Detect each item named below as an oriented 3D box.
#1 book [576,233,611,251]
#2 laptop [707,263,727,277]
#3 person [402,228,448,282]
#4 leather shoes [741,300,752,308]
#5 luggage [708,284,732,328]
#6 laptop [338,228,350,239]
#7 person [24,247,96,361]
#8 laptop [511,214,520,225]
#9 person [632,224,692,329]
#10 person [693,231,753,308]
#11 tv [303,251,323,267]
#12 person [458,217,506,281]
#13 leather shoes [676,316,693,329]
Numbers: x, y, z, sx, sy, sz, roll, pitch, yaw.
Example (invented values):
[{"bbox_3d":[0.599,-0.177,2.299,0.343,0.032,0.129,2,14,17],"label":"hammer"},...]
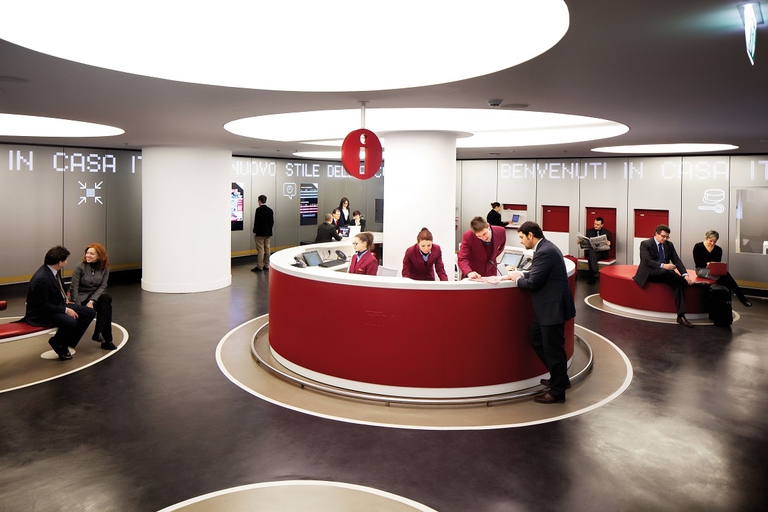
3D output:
[{"bbox_3d":[6.812,-0.404,15.549,0.980,0.565,0.692,3,12,13],"label":"book"},{"bbox_3d":[7.762,0.320,11.170,0.460,0.354,0.267,-1,-2,19],"label":"laptop"},{"bbox_3d":[0.723,0.007,8.367,0.779,0.973,0.520,-6,12,-29],"label":"person"},{"bbox_3d":[9.409,1.243,12.455,0.186,0.210,0.547,-3,-2,19],"label":"leather shoes"},{"bbox_3d":[7.613,1.140,10.856,0.491,0.864,0.403,8,13,33],"label":"luggage"},{"bbox_3d":[-1.291,-0.734,15.187,0.332,0.423,0.591,2,0,-31],"label":"laptop"},{"bbox_3d":[-5.730,0.839,8.387,0.974,2.032,0.652,-8,13,-39],"label":"person"},{"bbox_3d":[4.914,-1.373,17.889,0.304,0.460,0.236,1,-18,21],"label":"laptop"},{"bbox_3d":[6.506,0.426,11.123,1.230,2.119,0.766,7,12,30],"label":"person"},{"bbox_3d":[8.242,0.250,11.785,0.649,1.436,1.934,-4,17,13],"label":"person"},{"bbox_3d":[-1.567,0.067,10.372,0.080,0.206,0.293,-22,-2,26],"label":"tv"},{"bbox_3d":[1.717,-0.186,8.840,0.552,1.105,1.222,10,15,41],"label":"person"},{"bbox_3d":[6.767,1.501,10.821,0.140,0.180,0.434,1,1,-3],"label":"leather shoes"}]
